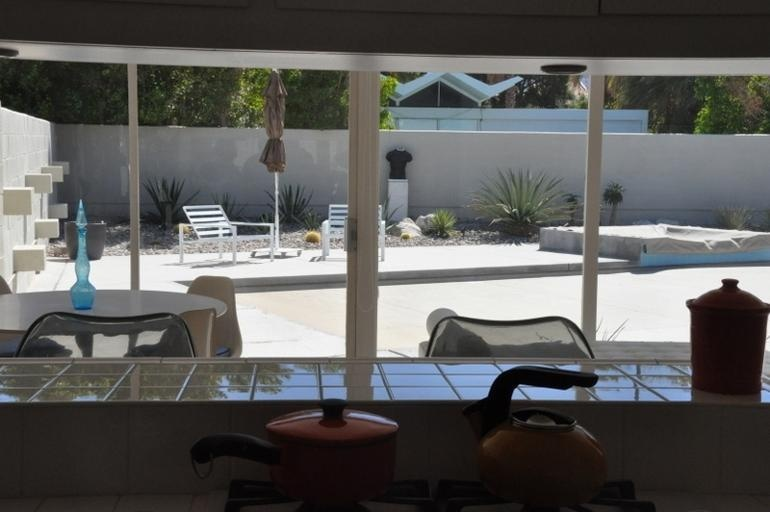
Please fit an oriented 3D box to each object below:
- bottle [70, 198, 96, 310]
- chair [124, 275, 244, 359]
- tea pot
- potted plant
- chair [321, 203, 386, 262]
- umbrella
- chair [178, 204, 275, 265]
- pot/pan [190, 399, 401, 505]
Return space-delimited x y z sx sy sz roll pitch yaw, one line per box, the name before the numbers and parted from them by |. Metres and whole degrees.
bottle | -1.317 -0.002 3.236 0.090 0.455 0.228 -3 7 -23
chair | -1.030 0.295 3.766 0.407 0.593 0.456 -1 0 -1
tea pot | 0.290 0.340 1.533 0.293 0.264 0.232 1 4 9
potted plant | 0.891 -0.333 4.848 0.209 0.456 0.733 -7 9 -44
chair | -0.204 -0.201 4.796 0.435 0.420 0.311 0 5 -3
umbrella | -0.683 -0.613 4.604 0.171 1.009 0.119 -1 6 -5
chair | -0.974 -0.159 4.622 0.435 0.374 0.383 2 5 23
pot/pan | -0.162 0.346 1.442 0.331 0.145 0.209 0 -1 -10
